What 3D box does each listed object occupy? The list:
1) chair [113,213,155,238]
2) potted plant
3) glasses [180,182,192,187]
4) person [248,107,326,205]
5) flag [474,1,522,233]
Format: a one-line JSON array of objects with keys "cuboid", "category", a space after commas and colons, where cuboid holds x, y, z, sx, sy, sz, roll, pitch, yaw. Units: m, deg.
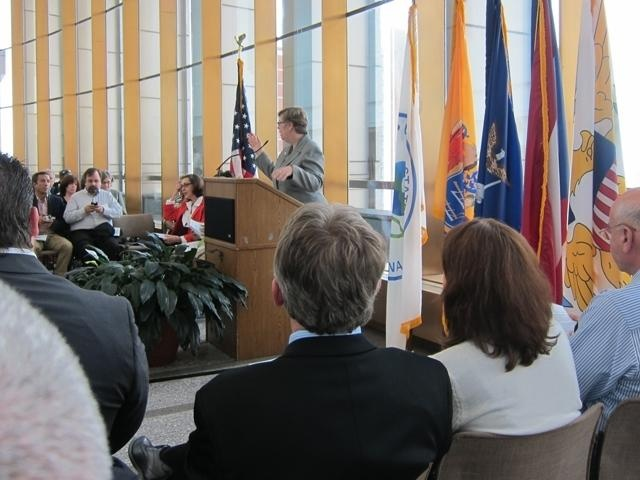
[{"cuboid": [-2.643, -0.194, 7.277, 0.270, 0.392, 0.263, 6, 7, 43], "category": "chair"}, {"cuboid": [-1.239, 0.386, 4.065, 0.925, 0.705, 0.953, 6, -9, -28], "category": "potted plant"}, {"cuboid": [-1.496, -0.612, 5.744, 0.052, 0.041, 0.068, -3, -13, 5], "category": "glasses"}, {"cuboid": [-0.252, -0.747, 4.604, 0.593, 0.852, 0.741, -1, 1, -28], "category": "person"}, {"cuboid": [1.168, -0.821, 3.377, 0.297, 1.483, 0.156, 0, 1, 25], "category": "flag"}]
